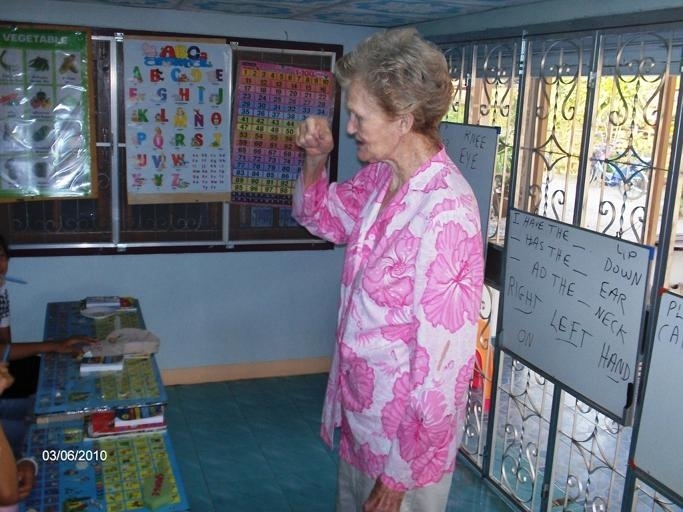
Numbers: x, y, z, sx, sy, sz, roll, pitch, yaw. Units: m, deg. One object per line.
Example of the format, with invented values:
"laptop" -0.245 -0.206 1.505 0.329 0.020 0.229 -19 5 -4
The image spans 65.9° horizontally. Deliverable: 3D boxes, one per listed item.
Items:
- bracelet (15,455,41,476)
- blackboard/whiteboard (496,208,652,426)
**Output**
"bracelet" -1.295 0.858 2.179 0.073 0.055 0.075 -9 -10 41
"blackboard/whiteboard" 1.252 0.294 2.807 0.181 1.029 1.066 -8 22 -24
